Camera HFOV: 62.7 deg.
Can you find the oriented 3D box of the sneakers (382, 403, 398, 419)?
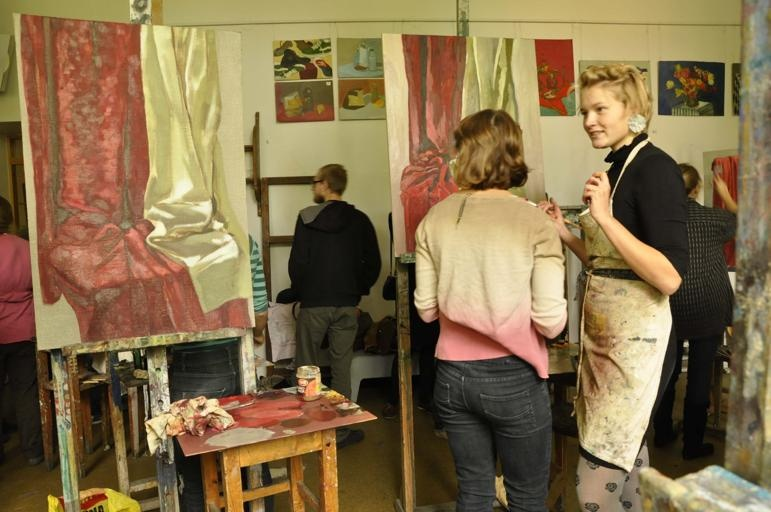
[{"bbox_3d":[0.031,1.251,5.025,0.126,0.091,0.120,-4,7,-8],"label":"sneakers"}]

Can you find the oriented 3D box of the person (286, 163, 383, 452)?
[{"bbox_3d":[-0.349,0.320,4.568,0.662,1.429,0.246,-4,8,-10],"label":"person"}]

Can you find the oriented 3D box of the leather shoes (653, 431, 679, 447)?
[{"bbox_3d":[1.904,1.244,4.326,0.121,0.133,0.125,3,-1,-32],"label":"leather shoes"}]

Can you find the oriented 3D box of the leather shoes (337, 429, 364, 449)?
[{"bbox_3d":[-0.266,1.328,4.569,0.080,0.090,0.237,3,5,40],"label":"leather shoes"}]

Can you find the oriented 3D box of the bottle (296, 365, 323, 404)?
[{"bbox_3d":[-0.363,0.609,3.041,0.131,0.148,0.140,-5,8,-20],"label":"bottle"}]
